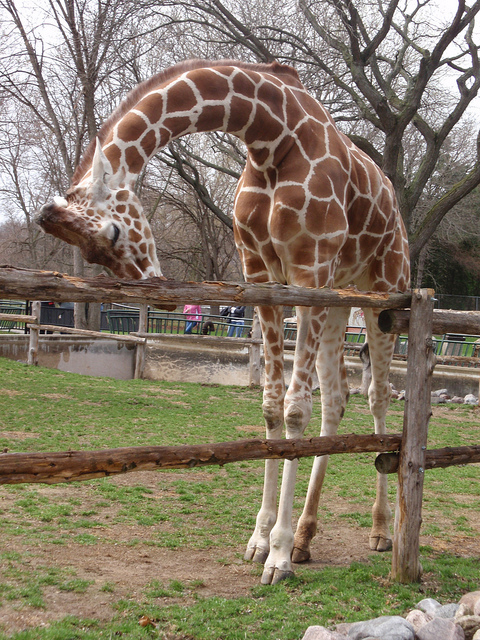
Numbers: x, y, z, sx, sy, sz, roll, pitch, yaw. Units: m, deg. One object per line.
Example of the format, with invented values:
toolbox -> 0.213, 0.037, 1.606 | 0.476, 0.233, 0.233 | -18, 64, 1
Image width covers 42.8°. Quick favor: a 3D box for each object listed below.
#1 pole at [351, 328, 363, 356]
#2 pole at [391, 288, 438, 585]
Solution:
pole -> 2.820, 0.541, 14.747 | 0.066, 0.717, 0.148 | 38, -15, -36
pole -> 0.963, 0.604, 3.373 | 0.183, 1.576, 0.301 | 3, -2, 16
